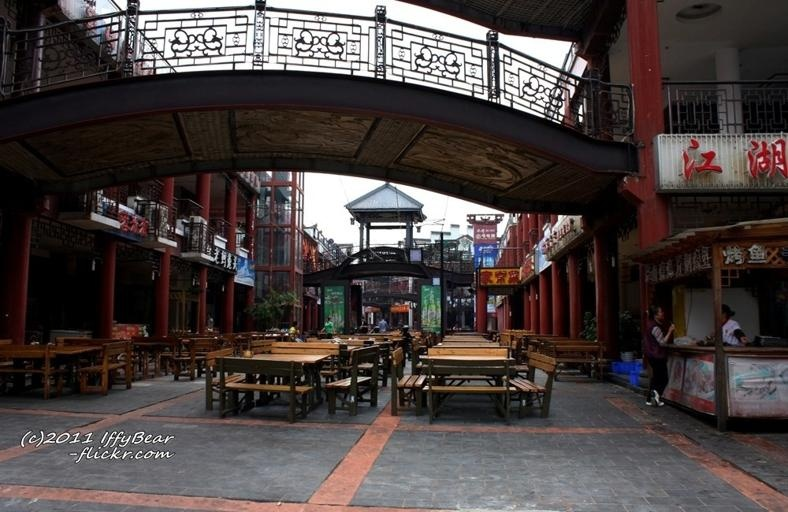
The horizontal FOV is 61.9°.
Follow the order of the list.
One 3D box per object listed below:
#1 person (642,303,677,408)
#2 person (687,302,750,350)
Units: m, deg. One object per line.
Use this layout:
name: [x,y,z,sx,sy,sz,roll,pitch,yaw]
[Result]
person: [5.941,2.246,14.804,0.563,2.277,0.682,2,5,25]
person: [7.113,1.493,14.145,0.921,0.983,2.888,3,5,28]
